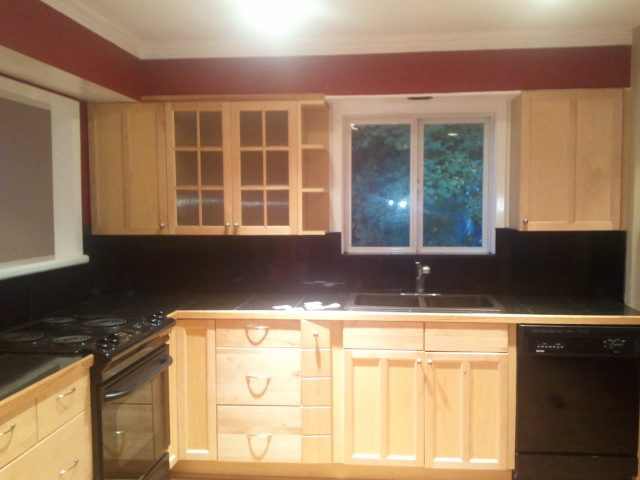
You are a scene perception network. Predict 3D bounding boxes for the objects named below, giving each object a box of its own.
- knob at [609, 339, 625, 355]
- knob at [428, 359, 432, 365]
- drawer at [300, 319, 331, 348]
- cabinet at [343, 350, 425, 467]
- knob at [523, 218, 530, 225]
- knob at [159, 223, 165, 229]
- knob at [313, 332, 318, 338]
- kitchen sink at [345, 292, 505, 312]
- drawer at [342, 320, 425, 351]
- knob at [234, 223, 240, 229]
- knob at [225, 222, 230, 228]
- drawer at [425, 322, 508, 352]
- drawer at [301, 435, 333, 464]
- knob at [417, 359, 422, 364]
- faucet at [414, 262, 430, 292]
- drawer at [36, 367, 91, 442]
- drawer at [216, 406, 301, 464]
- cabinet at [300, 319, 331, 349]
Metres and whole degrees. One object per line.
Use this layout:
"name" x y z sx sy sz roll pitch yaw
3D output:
"knob" 1.856 0.673 3.470 0.100 0.086 0.023 3 0 7
"knob" 0.702 0.783 3.554 0.024 0.040 0.023 2 15 8
"drawer" -0.034 0.583 3.705 0.266 0.240 0.166 -1 -3 0
"cabinet" 0.490 1.156 3.790 0.613 0.684 0.552 -1 -16 8
"knob" 1.407 -0.125 3.795 0.030 0.032 0.021 0 0 26
"knob" -1.126 -0.097 3.945 0.036 0.024 0.035 -8 17 -35
"knob" -0.029 0.621 3.608 0.030 0.032 0.031 3 1 7
"kitchen sink" 0.714 0.432 3.860 1.049 0.113 0.529 2 -1 4
"drawer" 0.400 0.619 3.530 0.340 0.110 0.230 1 -1 4
"knob" -0.582 -0.095 3.930 0.035 0.034 0.028 -9 0 25
"knob" -0.659 -0.104 3.929 0.030 0.032 0.030 7 12 38
"drawer" 0.942 0.624 3.542 0.342 0.134 0.234 1 0 4
"drawer" -0.026 1.367 3.632 0.196 0.154 0.061 0 -2 -1
"knob" 0.635 0.780 3.563 0.025 0.023 0.044 0 -9 -7
"faucet" 0.747 0.277 4.076 0.102 0.217 0.190 2 -1 12
"drawer" -1.290 0.823 2.787 0.232 0.174 0.375 2 8 16
"drawer" -0.415 1.290 3.530 0.449 0.246 0.432 0 -3 3
"cabinet" -0.031 0.612 3.612 0.192 0.164 0.184 0 -3 -1
